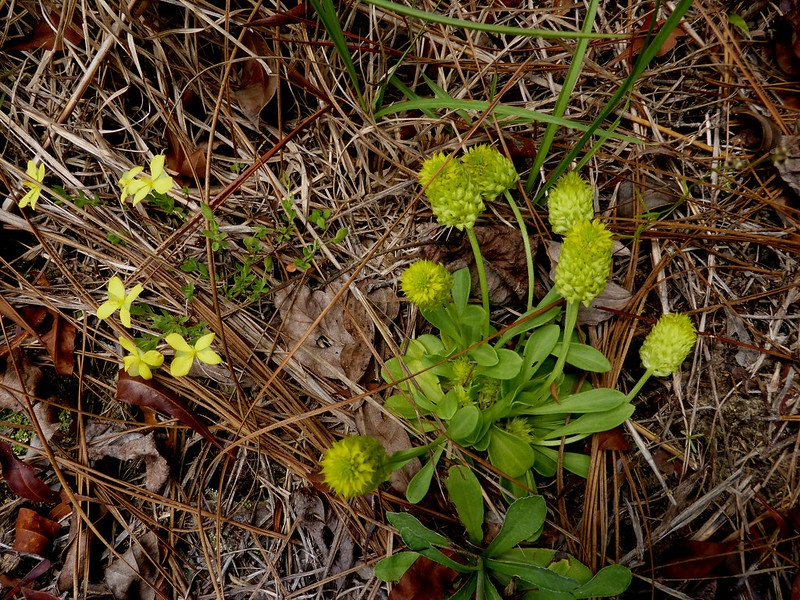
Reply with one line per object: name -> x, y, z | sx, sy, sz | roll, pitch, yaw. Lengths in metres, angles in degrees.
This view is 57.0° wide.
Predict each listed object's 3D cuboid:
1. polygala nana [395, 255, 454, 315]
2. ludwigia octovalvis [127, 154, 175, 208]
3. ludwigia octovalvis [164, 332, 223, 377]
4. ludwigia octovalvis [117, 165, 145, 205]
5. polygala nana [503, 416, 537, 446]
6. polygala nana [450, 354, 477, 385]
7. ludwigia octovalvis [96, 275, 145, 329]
polygala nana -> 0.099, -0.061, 2.703 | 0.179, 0.142, 0.157 | 16, 84, 2
ludwigia octovalvis -> -0.949, -0.449, 2.801 | 0.205, 0.083, 0.218 | -2, 81, -1
ludwigia octovalvis -> -0.763, 0.184, 2.729 | 0.192, 0.053, 0.190 | 34, 83, -5
ludwigia octovalvis -> -1.002, -0.457, 2.796 | 0.139, 0.029, 0.146 | -22, 68, 31
polygala nana -> 0.480, 0.499, 2.891 | 0.126, 0.057, 0.081 | 27, 84, 3
polygala nana -> 0.249, 0.273, 2.865 | 0.091, 0.082, 0.116 | 2, 83, 0
ludwigia octovalvis -> -1.028, -0.014, 2.763 | 0.172, 0.261, 0.217 | -8, 114, -20
